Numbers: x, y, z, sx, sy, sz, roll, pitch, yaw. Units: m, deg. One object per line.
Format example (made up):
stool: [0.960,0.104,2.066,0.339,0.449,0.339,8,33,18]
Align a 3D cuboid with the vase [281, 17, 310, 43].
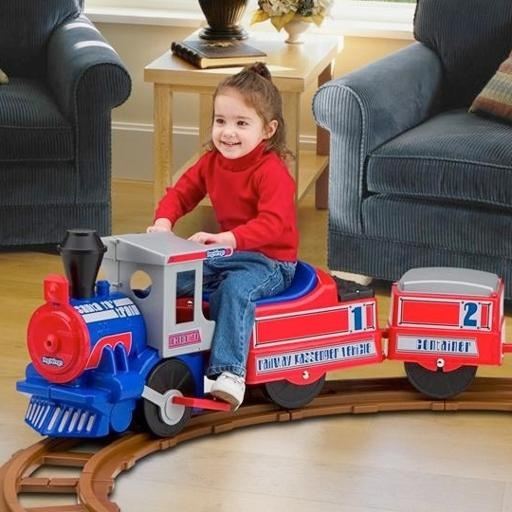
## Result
vase: [0.151,-0.831,2.088,0.072,0.058,0.076,-3,42,2]
